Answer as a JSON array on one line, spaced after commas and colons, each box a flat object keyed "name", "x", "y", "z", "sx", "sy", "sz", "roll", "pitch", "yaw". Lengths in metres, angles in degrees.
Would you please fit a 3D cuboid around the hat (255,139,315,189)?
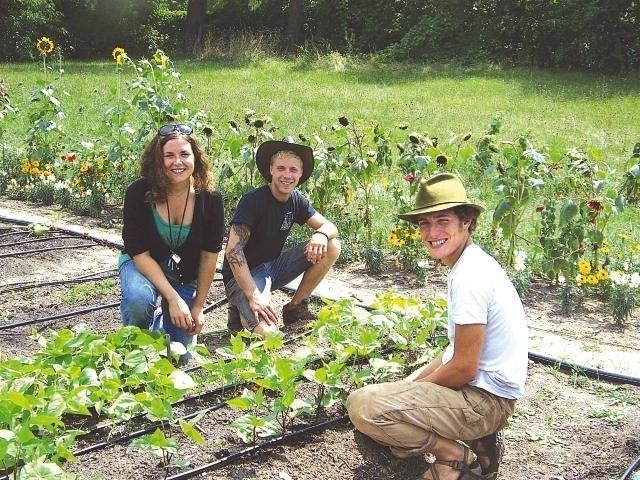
[{"name": "hat", "x": -0.262, "y": -0.660, "z": 5.488, "sx": 0.396, "sy": 0.156, "sz": 0.365, "roll": -12, "pitch": 13, "yaw": -23}]

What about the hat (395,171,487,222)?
[{"name": "hat", "x": 0.700, "y": -0.250, "z": 4.293, "sx": 0.512, "sy": 0.278, "sz": 0.497, "roll": -3, "pitch": -8, "yaw": -14}]

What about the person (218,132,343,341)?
[{"name": "person", "x": -0.367, "y": -0.024, "z": 5.468, "sx": 0.853, "sy": 1.536, "sz": 0.829, "roll": 12, "pitch": 14, "yaw": 43}]

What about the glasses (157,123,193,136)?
[{"name": "glasses", "x": -1.038, "y": -0.779, "z": 5.063, "sx": 0.238, "sy": 0.083, "sz": 0.132, "roll": -1, "pitch": 10, "yaw": -18}]

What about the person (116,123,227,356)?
[{"name": "person", "x": -1.053, "y": -0.030, "z": 5.062, "sx": 0.753, "sy": 1.551, "sz": 0.522, "roll": -1, "pitch": 10, "yaw": -18}]
